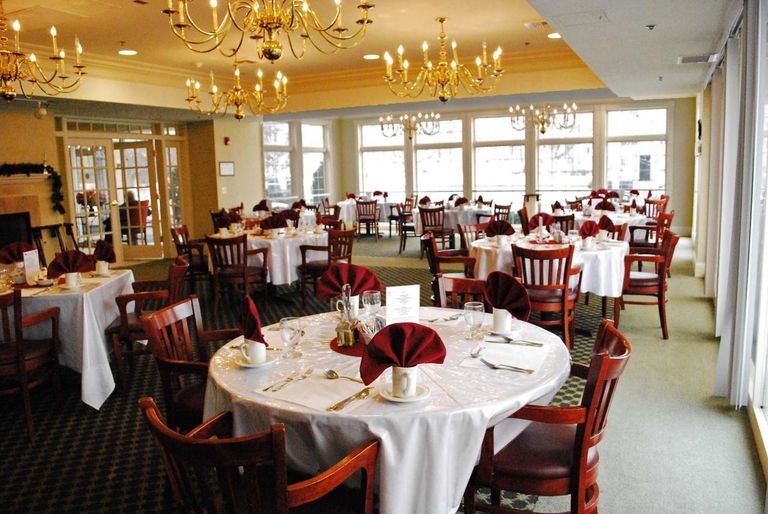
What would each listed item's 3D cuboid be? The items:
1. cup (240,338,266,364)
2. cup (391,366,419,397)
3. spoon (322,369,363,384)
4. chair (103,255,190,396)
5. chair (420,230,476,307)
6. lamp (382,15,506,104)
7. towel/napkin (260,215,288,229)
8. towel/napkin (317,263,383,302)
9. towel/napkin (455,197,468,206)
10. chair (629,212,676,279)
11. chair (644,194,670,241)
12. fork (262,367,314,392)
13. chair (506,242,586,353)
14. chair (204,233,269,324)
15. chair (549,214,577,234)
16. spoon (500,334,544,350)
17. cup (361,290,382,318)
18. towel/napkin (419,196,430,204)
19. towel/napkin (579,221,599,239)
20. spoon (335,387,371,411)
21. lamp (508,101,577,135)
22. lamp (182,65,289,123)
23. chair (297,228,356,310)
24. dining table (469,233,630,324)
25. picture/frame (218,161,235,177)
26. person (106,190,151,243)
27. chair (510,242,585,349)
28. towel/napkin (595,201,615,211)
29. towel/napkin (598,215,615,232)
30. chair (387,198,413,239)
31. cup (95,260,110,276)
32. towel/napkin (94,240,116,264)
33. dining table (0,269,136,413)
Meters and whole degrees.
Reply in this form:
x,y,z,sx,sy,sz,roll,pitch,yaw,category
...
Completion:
x,y,z,sx,sy,sz,roll,pitch,yaw,category
-0.763,0.553,3.075,0.102,0.138,0.168,12,15,42,cup
0.105,0.639,2.693,0.135,0.164,0.143,-2,10,0,cup
-0.244,0.676,2.870,0.292,0.043,0.079,5,16,28,spoon
-2.332,0.621,5.025,0.789,1.055,0.763,-1,7,0,chair
0.740,0.115,5.718,0.566,0.749,0.572,-4,18,-9,chair
0.812,-2.720,7.058,1.624,1.177,1.645,-3,17,4,lamp
-1.622,-0.512,7.558,0.303,0.110,0.298,-3,5,-5,towel/napkin
-0.249,0.158,3.432,0.319,0.113,0.287,-13,13,-31,towel/napkin
1.723,-1.228,11.459,0.270,0.090,0.267,-17,15,-40,towel/napkin
4.262,-0.278,8.315,0.597,0.821,0.623,2,3,25,chair
5.059,-0.709,9.779,0.522,0.750,0.505,-13,12,-37,chair
-0.540,0.675,2.845,0.086,0.043,0.298,23,26,37,fork
1.658,0.388,5.339,0.773,1.091,0.741,2,11,21,chair
-1.984,0.151,6.949,0.729,0.981,0.723,-1,10,-1,chair
2.984,-0.553,8.487,0.245,0.290,0.381,6,13,40,chair
0.849,0.524,3.231,0.318,0.046,0.077,1,7,41,spoon
-0.078,0.296,3.278,0.144,0.166,0.153,2,13,0,cup
0.952,-1.337,12.141,0.174,0.141,0.257,-1,-4,-22,towel/napkin
2.387,-0.323,5.983,0.229,0.224,0.096,1,1,-9,towel/napkin
-0.166,0.744,2.673,0.064,0.036,0.267,11,20,29,spoon
3.997,-3.488,12.722,1.636,0.845,1.637,4,13,23,lamp
-2.888,-3.246,10.095,1.362,0.782,1.290,-36,70,-27,lamp
-0.799,0.102,7.290,0.724,1.026,0.749,0,7,18,chair
2.073,0.153,6.223,1.464,0.825,1.472,-15,12,-31,dining table
-3.637,-2.022,11.703,0.041,0.240,0.401,0,7,19,picture/frame
-5.520,-0.754,11.222,0.783,1.022,0.856,0,0,25,person
1.656,0.386,5.335,0.795,1.065,0.716,1,11,16,chair
3.757,-0.875,8.793,0.210,0.075,0.204,-7,12,-28,towel/napkin
2.738,-0.408,6.316,0.079,0.197,0.197,-22,15,-32,towel/napkin
0.364,-1.024,13.539,0.439,0.604,0.466,-6,-8,25,chair
-2.867,0.126,5.274,0.116,0.156,0.157,4,-6,-10,cup
-2.881,-0.051,5.388,0.248,0.242,0.095,2,2,5,towel/napkin
-2.734,0.665,4.742,1.182,0.622,1.048,2,10,13,dining table
